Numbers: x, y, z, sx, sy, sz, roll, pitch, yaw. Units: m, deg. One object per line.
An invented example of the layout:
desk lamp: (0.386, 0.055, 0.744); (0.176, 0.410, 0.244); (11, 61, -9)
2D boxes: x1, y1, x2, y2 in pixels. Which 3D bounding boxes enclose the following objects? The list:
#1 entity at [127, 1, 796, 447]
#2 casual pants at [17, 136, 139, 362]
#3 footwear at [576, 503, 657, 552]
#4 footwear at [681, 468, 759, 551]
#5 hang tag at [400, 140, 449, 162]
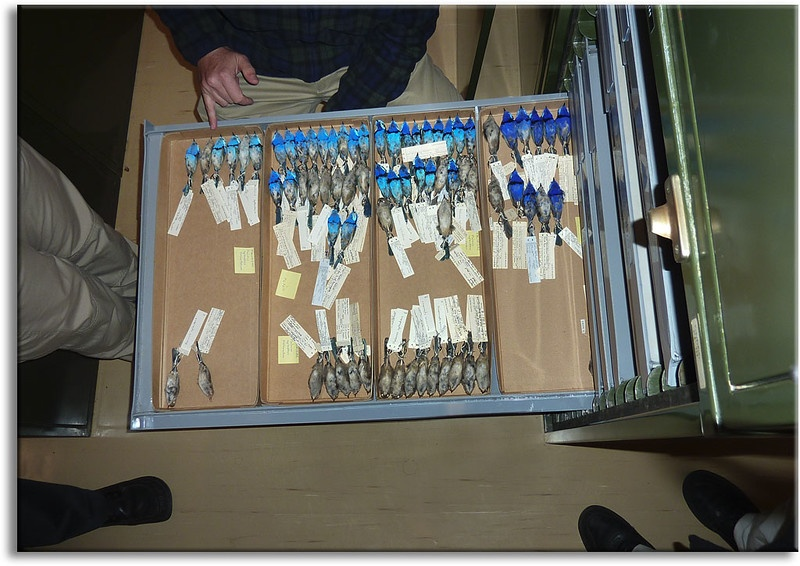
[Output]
entity: (0.405, -0.179, 2.988); (2.339, 1.665, 0.875); (-9, -12, 34)
casual pants: (-1.515, -0.122, 3.342); (0.274, 0.946, 0.738); (-5, -11, 20)
footwear: (1.099, 1.234, 3.601); (0.137, 0.382, 0.149); (-45, -37, 2)
footwear: (1.573, 1.067, 3.675); (0.178, 0.547, 0.193); (-37, -22, 8)
hang tag: (0.125, -0.613, 3.355); (0.240, 0.092, 0.013); (-11, 3, 0)
